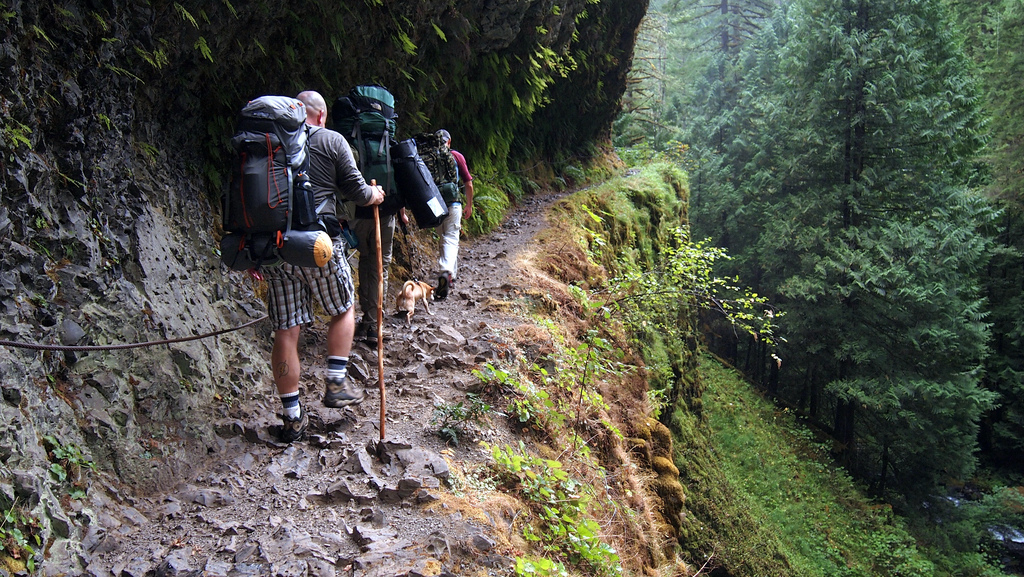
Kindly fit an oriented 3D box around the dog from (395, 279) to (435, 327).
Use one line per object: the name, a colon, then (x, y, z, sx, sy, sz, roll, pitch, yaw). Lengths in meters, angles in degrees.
dog: (-2.422, 0.179, 19.547, 0.511, 1.035, 1.616, 10, 11, 12)
